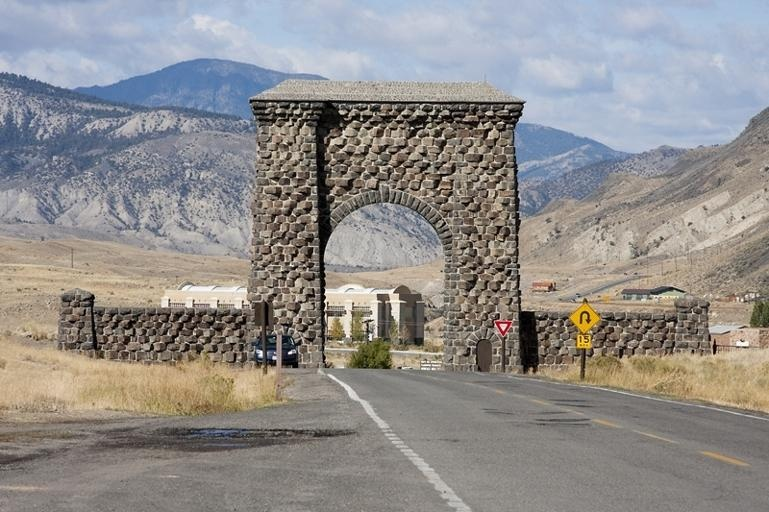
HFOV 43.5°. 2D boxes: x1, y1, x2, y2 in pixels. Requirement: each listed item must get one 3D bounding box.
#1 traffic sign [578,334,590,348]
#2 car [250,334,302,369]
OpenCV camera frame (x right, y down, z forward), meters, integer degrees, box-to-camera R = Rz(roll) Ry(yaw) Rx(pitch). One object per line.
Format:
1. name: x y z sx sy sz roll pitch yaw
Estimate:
1. traffic sign: 9.115 3.933 44.582 0.544 0.629 0.724 -2 -9 15
2. car: -5.570 4.981 50.300 2.124 1.732 1.626 -1 -9 10
